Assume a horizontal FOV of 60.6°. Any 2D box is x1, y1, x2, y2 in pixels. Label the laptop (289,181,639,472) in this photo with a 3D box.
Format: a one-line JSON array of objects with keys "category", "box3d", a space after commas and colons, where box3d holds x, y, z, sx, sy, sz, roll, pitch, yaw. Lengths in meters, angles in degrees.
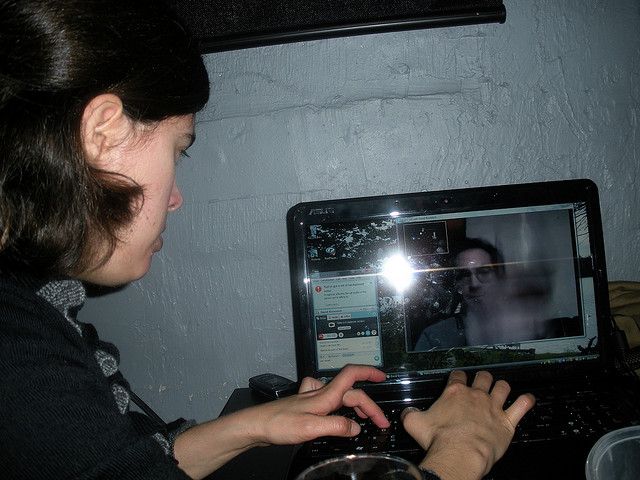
[{"category": "laptop", "box3d": [0.267, 0.099, 1.206, 0.632, 0.478, 0.381, -3, 12, 2]}]
